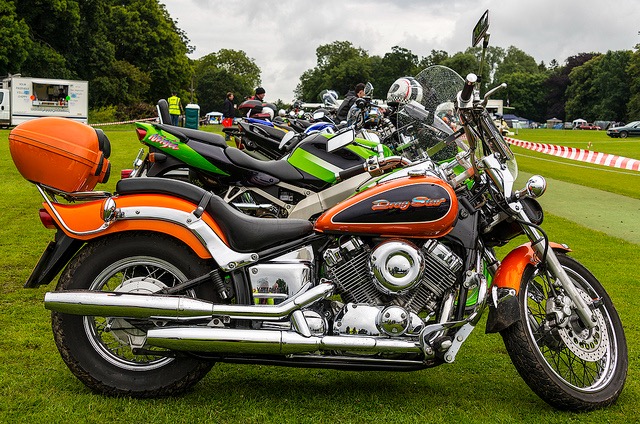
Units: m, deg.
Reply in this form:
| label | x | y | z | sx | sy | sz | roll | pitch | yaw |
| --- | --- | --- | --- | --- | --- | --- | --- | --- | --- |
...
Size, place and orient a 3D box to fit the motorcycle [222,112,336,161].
| label | x | y | z | sx | sy | sz | roll | pitch | yaw |
| --- | --- | --- | --- | --- | --- | --- | --- | --- | --- |
| motorcycle | -0.698 | -1.105 | 8.096 | 1.601 | 0.947 | 0.863 | 1 | 14 | 1 |

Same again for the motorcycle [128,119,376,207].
| label | x | y | z | sx | sy | sz | roll | pitch | yaw |
| --- | --- | --- | --- | --- | --- | --- | --- | --- | --- |
| motorcycle | -0.996 | -0.319 | 6.414 | 2.388 | 1.195 | 1.397 | 7 | 14 | 0 |
